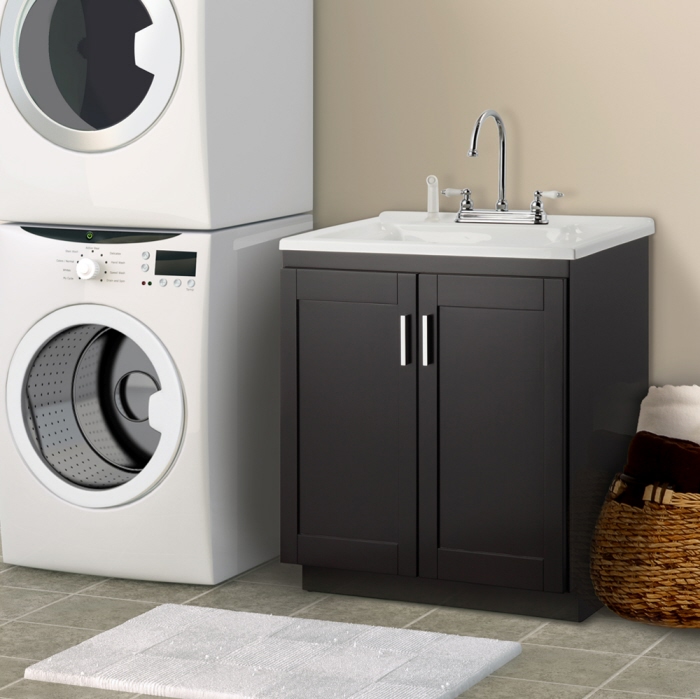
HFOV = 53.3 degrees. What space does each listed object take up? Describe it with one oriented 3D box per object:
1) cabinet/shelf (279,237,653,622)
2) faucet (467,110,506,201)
[{"bbox_3d":[0.243,0.197,1.990,1.027,1.121,0.804,1,4,25],"label":"cabinet/shelf"},{"bbox_3d":[0.391,-0.546,1.971,0.113,0.293,0.279,1,8,10],"label":"faucet"}]
